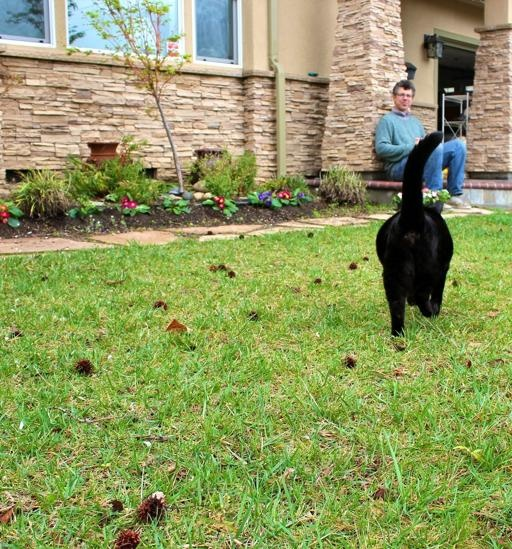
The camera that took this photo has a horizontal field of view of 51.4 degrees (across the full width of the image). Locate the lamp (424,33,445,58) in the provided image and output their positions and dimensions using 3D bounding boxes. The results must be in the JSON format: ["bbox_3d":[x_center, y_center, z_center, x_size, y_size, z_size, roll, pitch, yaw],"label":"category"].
[{"bbox_3d":[4.272,-5.551,12.932,0.399,0.587,0.476,10,19,41],"label":"lamp"}]

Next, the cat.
[{"bbox_3d":[0.613,-0.149,2.061,0.293,0.759,0.363,0,15,12],"label":"cat"}]
